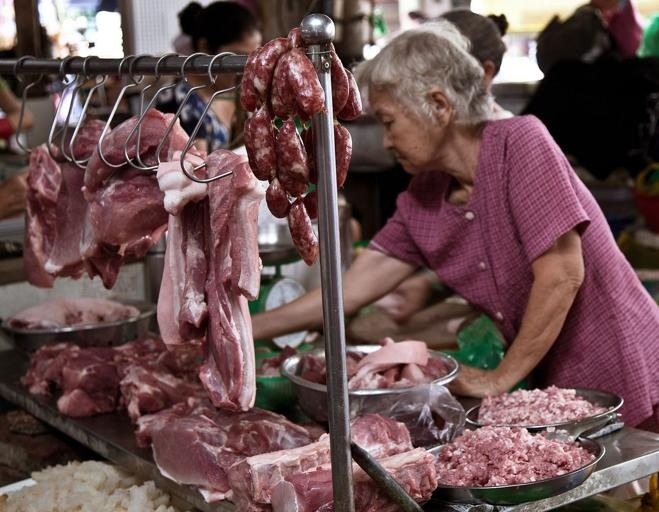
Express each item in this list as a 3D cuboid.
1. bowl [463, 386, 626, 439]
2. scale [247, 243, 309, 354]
[{"bbox_3d":[0.669,0.489,2.178,0.481,0.112,0.305,3,18,1],"label":"bowl"},{"bbox_3d":[-0.284,0.179,3.859,0.287,0.429,0.261,17,1,-44],"label":"scale"}]
